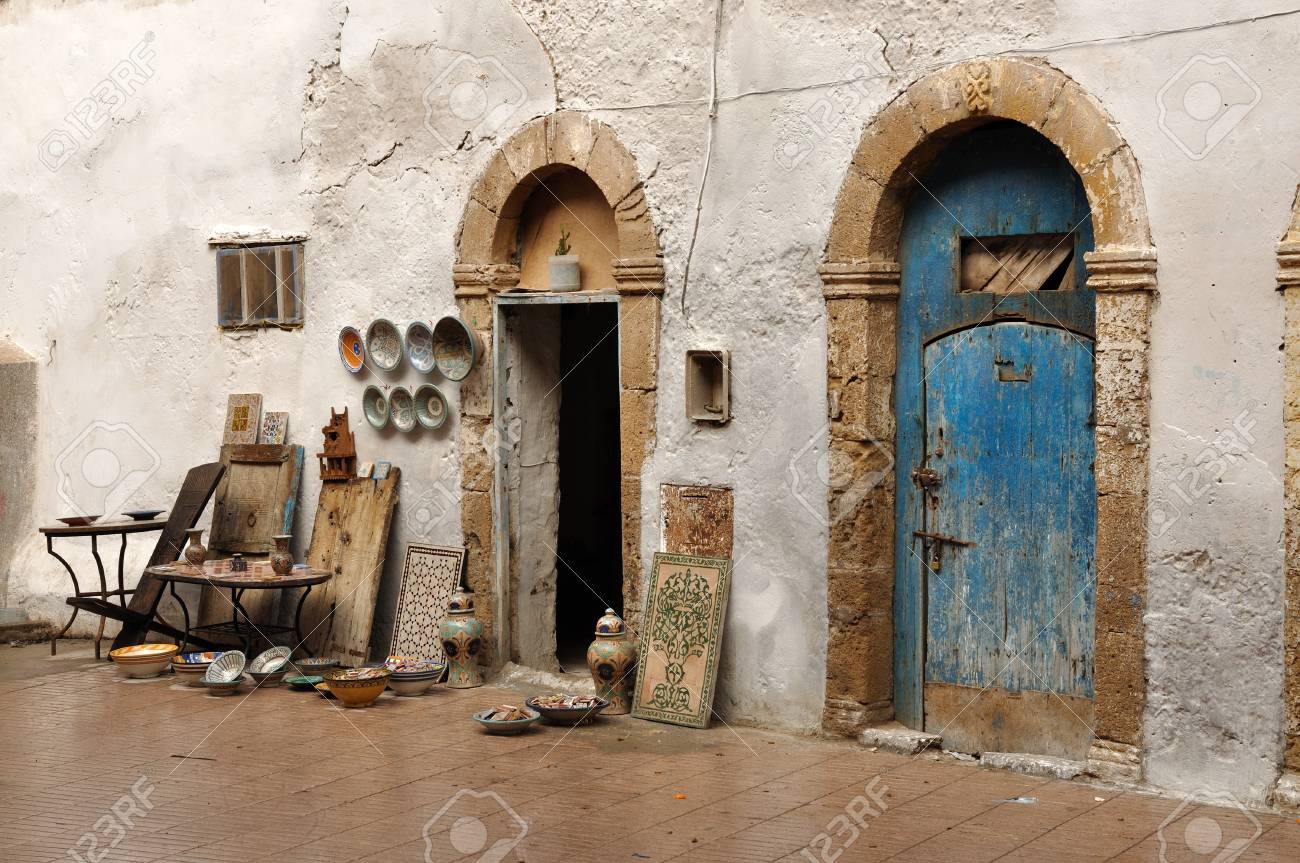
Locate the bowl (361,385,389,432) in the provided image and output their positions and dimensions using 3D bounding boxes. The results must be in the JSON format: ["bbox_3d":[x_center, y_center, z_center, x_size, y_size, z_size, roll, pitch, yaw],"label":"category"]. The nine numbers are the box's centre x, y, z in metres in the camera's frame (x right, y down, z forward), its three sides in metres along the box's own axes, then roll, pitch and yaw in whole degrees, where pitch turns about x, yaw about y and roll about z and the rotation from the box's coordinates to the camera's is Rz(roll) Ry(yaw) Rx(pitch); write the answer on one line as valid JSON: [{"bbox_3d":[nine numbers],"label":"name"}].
[{"bbox_3d":[-2.176,-0.182,10.556,0.275,0.346,0.064,5,11,36],"label":"bowl"}]

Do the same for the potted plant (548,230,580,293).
[{"bbox_3d":[-0.640,-1.272,9.962,0.247,0.454,0.301,0,9,9],"label":"potted plant"}]

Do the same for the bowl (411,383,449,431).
[{"bbox_3d":[-1.697,-0.184,10.315,0.318,0.325,0.093,3,10,27],"label":"bowl"}]

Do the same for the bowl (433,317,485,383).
[{"bbox_3d":[-1.476,-0.630,10.186,0.414,0.498,0.108,5,11,35],"label":"bowl"}]

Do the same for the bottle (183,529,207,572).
[{"bbox_3d":[-3.613,0.922,10.536,0.174,0.270,0.248,-5,10,-19],"label":"bottle"}]

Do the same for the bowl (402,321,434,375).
[{"bbox_3d":[-1.791,-0.642,10.344,0.301,0.415,0.095,6,12,40],"label":"bowl"}]

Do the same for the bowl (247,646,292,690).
[{"bbox_3d":[-2.930,1.811,10.225,0.312,0.243,0.276,-4,10,-17],"label":"bowl"}]

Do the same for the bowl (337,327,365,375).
[{"bbox_3d":[-2.396,-0.644,10.683,0.317,0.387,0.079,6,12,41],"label":"bowl"}]

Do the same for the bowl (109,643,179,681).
[{"bbox_3d":[-3.997,1.811,10.507,0.529,0.237,0.317,-2,9,-2],"label":"bowl"}]

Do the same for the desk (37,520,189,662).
[{"bbox_3d":[-4.647,1.123,11.421,1.084,1.521,1.595,2,-3,-38],"label":"desk"}]

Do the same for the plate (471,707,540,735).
[{"bbox_3d":[-0.972,1.940,9.024,0.444,0.164,0.301,-3,9,-6],"label":"plate"}]
